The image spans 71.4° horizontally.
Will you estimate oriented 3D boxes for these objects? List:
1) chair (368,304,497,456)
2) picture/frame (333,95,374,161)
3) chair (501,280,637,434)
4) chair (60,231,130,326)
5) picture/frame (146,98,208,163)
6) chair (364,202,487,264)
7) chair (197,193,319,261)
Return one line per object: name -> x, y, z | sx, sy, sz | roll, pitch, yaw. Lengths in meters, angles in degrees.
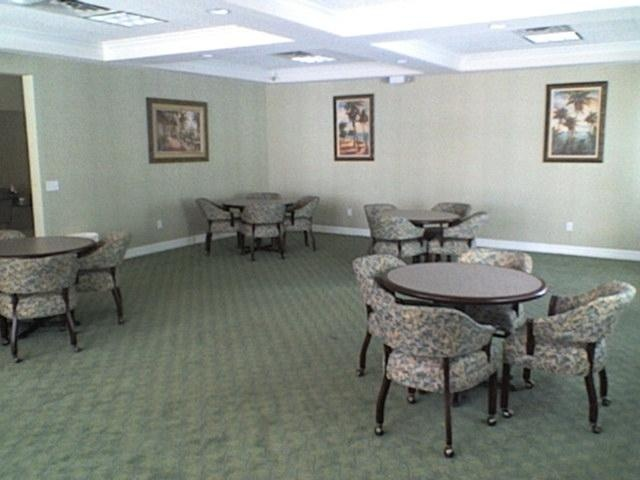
chair -> 0.745, 0.787, 3.311 | 0.848, 1.048, 0.940 | 5, 10, 36
picture/frame -> 0.715, -2.292, 8.966 | 1.154, 1.658, 0.072 | 6, 15, 28
chair -> 1.792, 0.638, 3.605 | 1.014, 1.344, 1.007 | 3, 8, 27
chair -> -2.347, 0.405, 5.261 | 0.849, 1.217, 0.903 | 1, 7, -12
picture/frame -> -2.593, -1.978, 8.025 | 0.090, 1.071, 1.206 | 11, 15, 42
chair -> 1.481, -0.085, 6.241 | 1.260, 0.578, 1.096 | 0, 9, 16
chair -> -1.032, -0.260, 7.864 | 1.980, 0.981, 1.425 | -1, 13, -3
